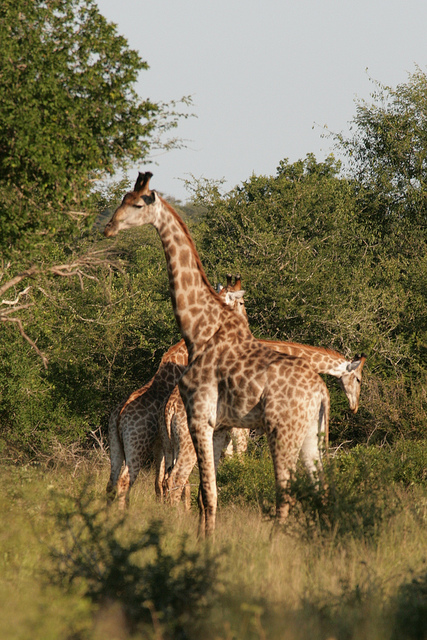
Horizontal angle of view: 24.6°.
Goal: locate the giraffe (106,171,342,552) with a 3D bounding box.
[{"bbox_3d":[0.207,0.461,9.318,1.659,3.735,2.074,-9,12,-21],"label":"giraffe"}]
